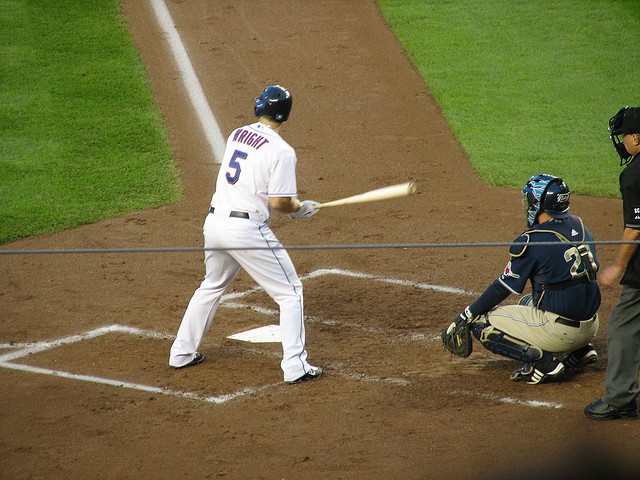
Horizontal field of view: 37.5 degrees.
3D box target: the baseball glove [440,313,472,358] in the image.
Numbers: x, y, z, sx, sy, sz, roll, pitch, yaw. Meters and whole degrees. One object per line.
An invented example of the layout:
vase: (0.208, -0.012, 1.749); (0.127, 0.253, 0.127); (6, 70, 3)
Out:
baseball glove: (1.375, 0.985, 9.502); (0.248, 0.461, 0.227); (-2, 31, 31)
